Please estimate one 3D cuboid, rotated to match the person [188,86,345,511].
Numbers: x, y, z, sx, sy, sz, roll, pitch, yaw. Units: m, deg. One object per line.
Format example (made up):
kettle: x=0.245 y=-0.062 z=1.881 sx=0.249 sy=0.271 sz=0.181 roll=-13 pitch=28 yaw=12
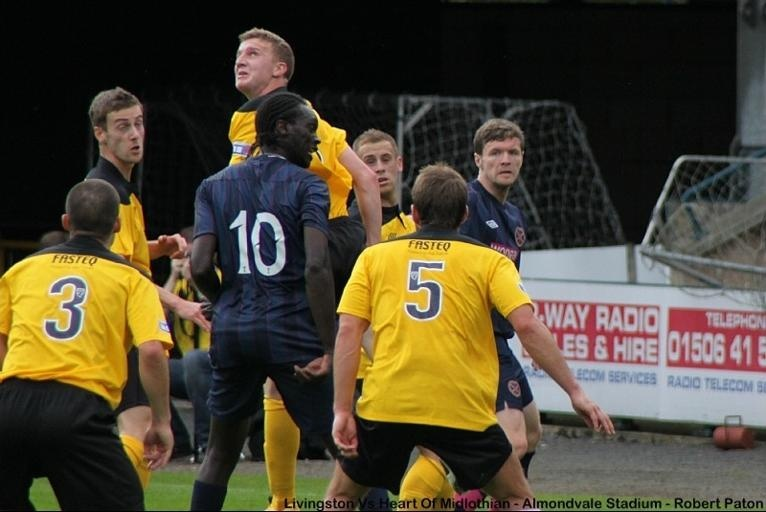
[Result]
person: x=-1.064 y=0.403 z=11.934 sx=1.220 sy=3.625 sz=0.545 roll=-2 pitch=4 yaw=-8
